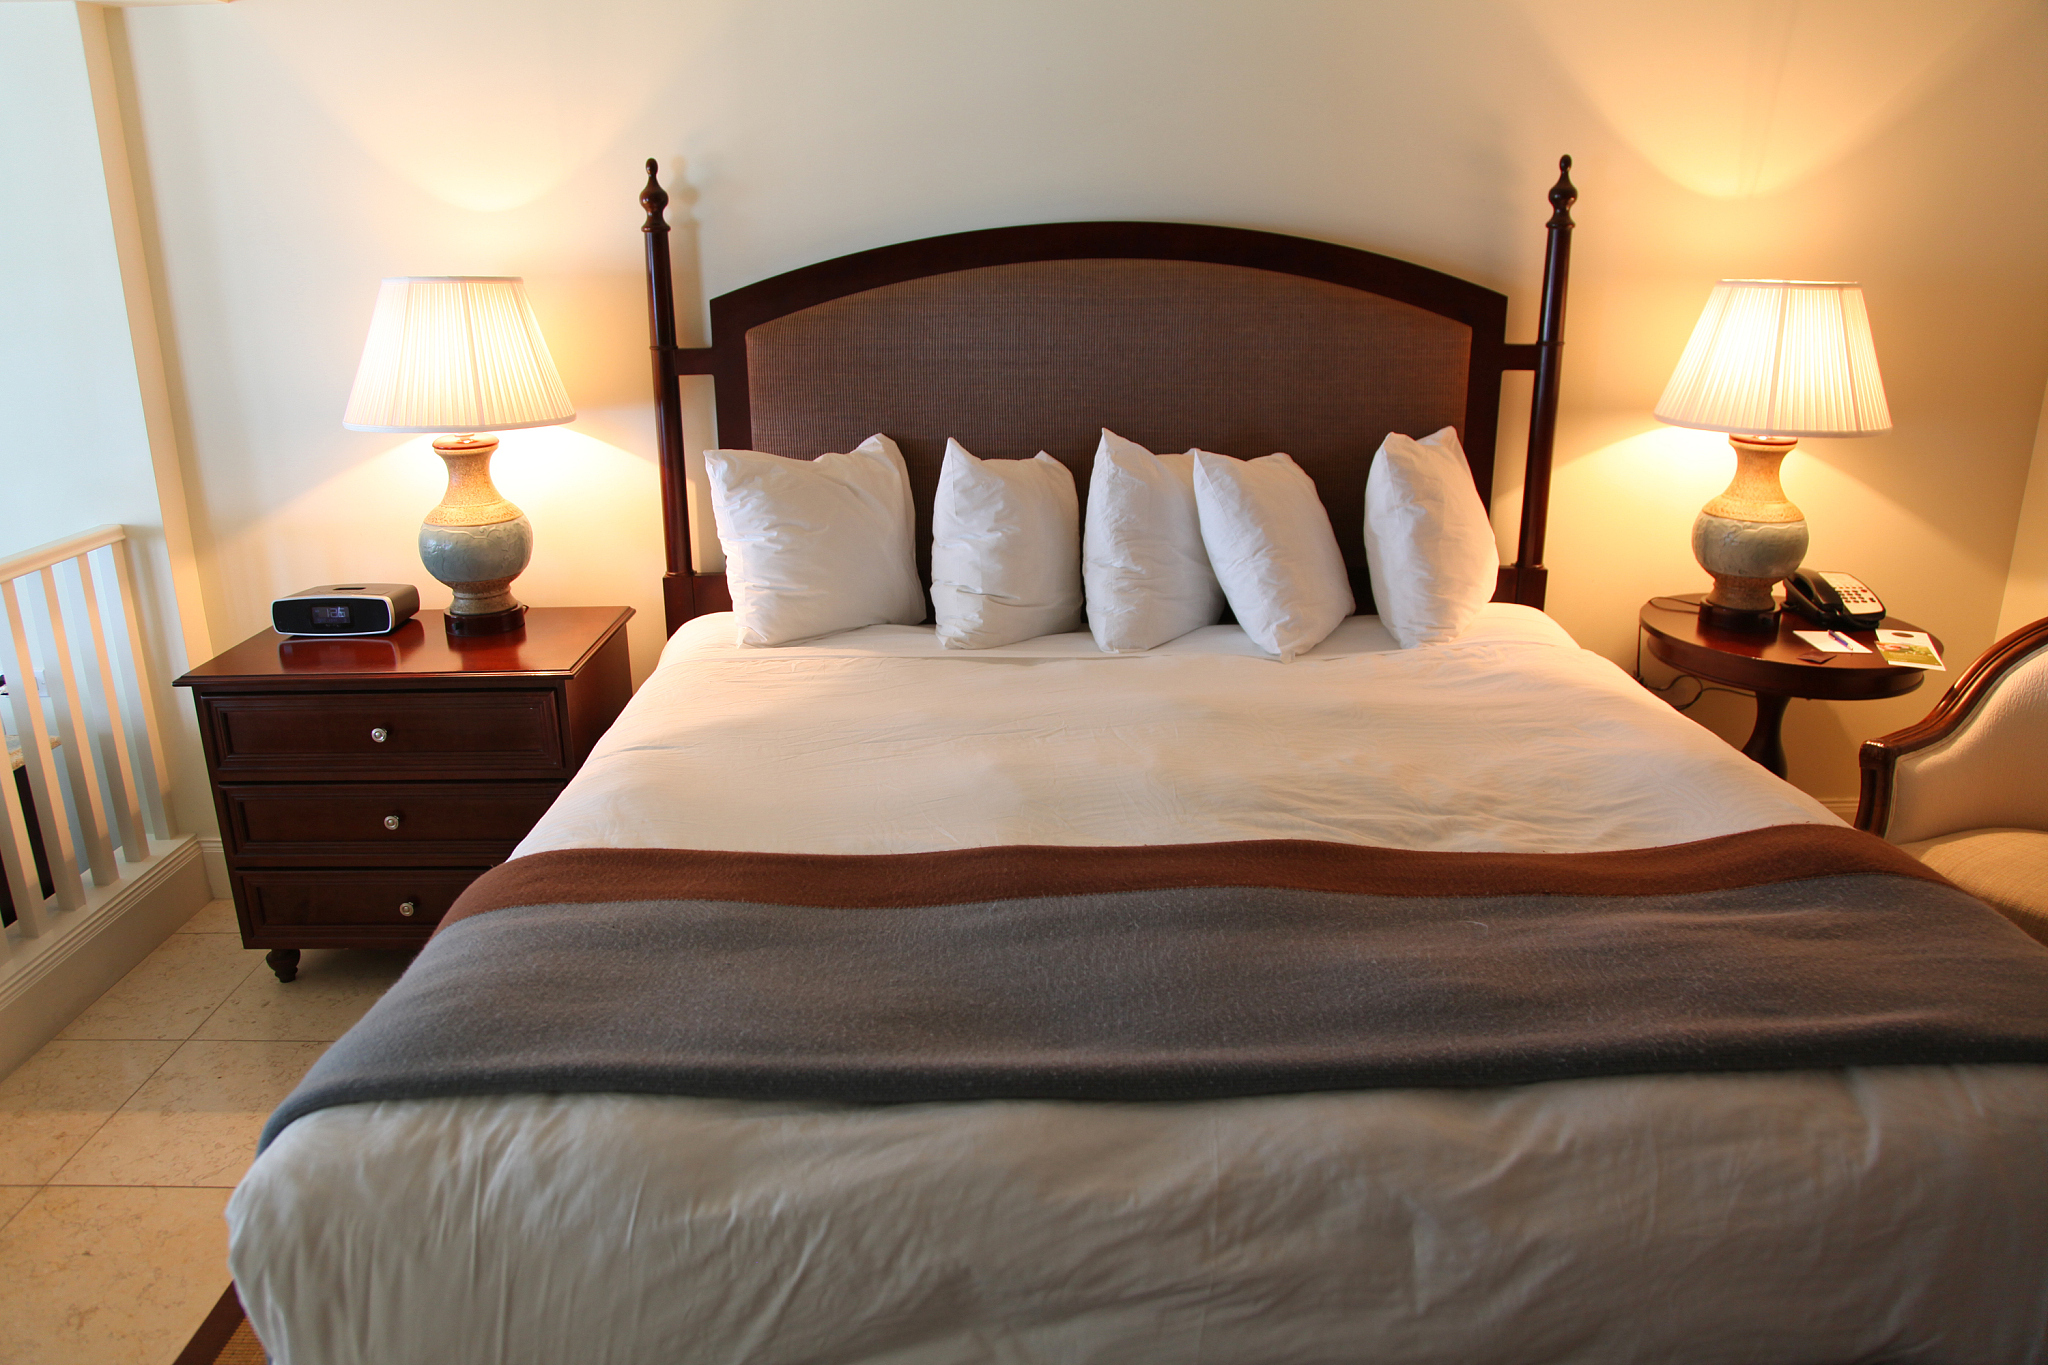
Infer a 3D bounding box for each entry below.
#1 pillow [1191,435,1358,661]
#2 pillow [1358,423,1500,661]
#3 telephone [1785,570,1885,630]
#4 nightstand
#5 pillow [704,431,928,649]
[{"bbox_3d":[0.630,-0.339,3.973,0.307,0.426,0.559,3,23,37],"label":"pillow"},{"bbox_3d":[1.046,-0.355,4.004,0.332,0.485,0.553,3,26,22],"label":"pillow"},{"bbox_3d":[2.216,-0.238,4.186,0.176,0.078,0.212,-3,22,-5],"label":"telephone"},{"bbox_3d":[-1.601,0.221,4.309,1.266,0.986,0.840,-1,18,-3],"label":"nightstand"},{"bbox_3d":[-0.534,-0.373,4.037,0.593,0.463,0.229,-15,4,-30],"label":"pillow"}]
